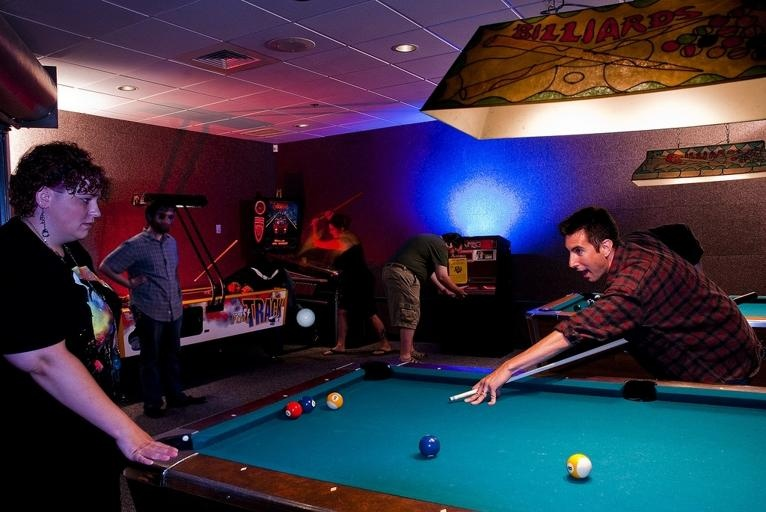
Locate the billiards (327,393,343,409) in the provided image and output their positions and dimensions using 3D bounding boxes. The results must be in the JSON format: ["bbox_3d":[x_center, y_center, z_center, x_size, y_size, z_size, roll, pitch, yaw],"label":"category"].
[{"bbox_3d":[-0.219,0.679,2.594,0.079,0.067,0.070,-7,17,0],"label":"billiards"}]

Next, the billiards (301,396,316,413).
[{"bbox_3d":[-0.337,0.692,2.554,0.066,0.066,0.070,-22,-16,29],"label":"billiards"}]

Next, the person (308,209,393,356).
[{"bbox_3d":[-0.401,0.263,7.139,0.818,2.079,0.813,1,3,34],"label":"person"}]

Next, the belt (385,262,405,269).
[{"bbox_3d":[0.136,0.103,6.043,0.214,0.061,0.046,3,12,28],"label":"belt"}]

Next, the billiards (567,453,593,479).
[{"bbox_3d":[0.701,0.752,1.949,0.091,0.078,0.085,-1,20,30],"label":"billiards"}]

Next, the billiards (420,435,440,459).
[{"bbox_3d":[0.181,0.739,2.116,0.088,0.073,0.078,-5,6,-6],"label":"billiards"}]

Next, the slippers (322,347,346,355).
[{"bbox_3d":[-0.594,1.167,6.697,0.253,0.055,0.097,7,-10,-43],"label":"slippers"}]

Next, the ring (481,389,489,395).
[{"bbox_3d":[0.488,0.651,2.630,0.032,0.011,0.034,0,-2,0],"label":"ring"}]

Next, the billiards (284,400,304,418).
[{"bbox_3d":[-0.408,0.702,2.494,0.081,0.071,0.072,6,2,40],"label":"billiards"}]
